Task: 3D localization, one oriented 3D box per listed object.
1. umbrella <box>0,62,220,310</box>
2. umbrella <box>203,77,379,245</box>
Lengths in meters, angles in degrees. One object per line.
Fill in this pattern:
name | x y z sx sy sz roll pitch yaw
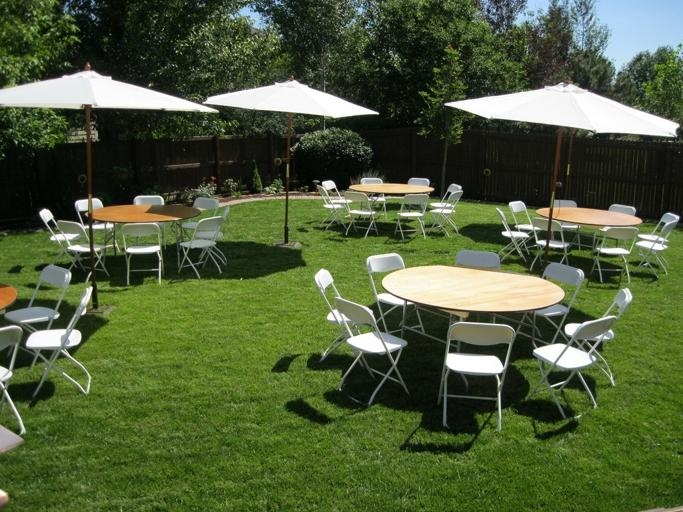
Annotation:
umbrella | -4.243 -1.135 8.939 3.620 3.575 2.284 7 11 41
umbrella | -0.965 -1.555 12.114 3.560 3.344 3.766 5 17 -3
